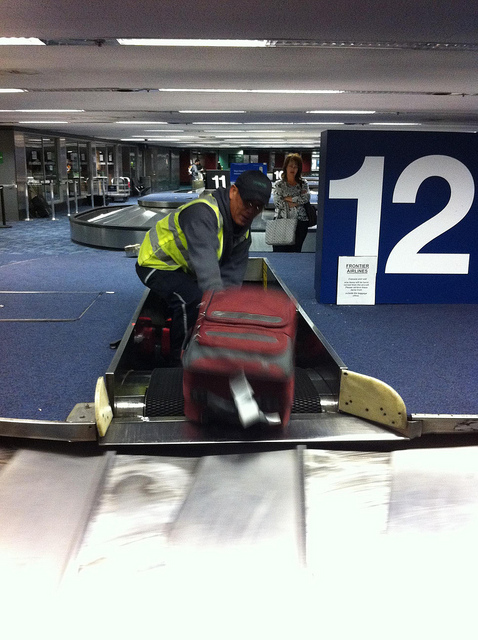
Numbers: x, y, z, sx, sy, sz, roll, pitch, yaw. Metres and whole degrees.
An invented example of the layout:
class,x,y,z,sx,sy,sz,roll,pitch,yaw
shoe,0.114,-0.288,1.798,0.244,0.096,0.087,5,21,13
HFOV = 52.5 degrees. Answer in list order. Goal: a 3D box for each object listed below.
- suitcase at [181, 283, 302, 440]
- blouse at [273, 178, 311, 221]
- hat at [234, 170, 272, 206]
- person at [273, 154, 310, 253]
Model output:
class,x,y,z,sx,sy,sz,roll,pitch,yaw
suitcase,0.008,0.153,1.654,0.370,0.422,0.529,2,15,5
blouse,0.688,-1.560,6.287,0.477,0.538,0.354,0,15,-2
hat,0.056,-0.510,1.875,0.105,0.074,0.134,9,38,-32
person,0.690,-1.535,6.278,0.412,1.080,0.727,8,17,26
